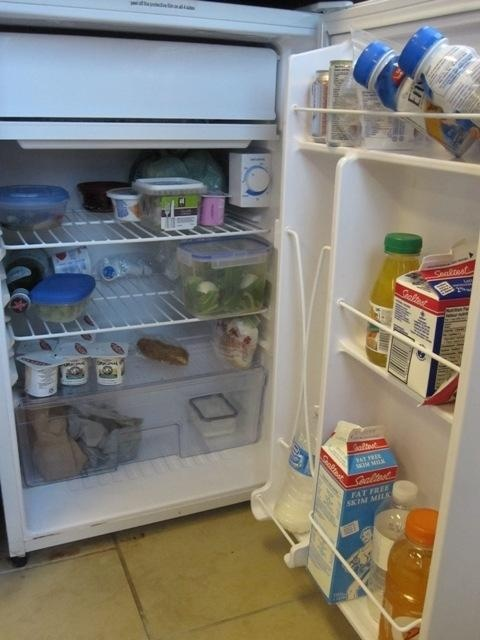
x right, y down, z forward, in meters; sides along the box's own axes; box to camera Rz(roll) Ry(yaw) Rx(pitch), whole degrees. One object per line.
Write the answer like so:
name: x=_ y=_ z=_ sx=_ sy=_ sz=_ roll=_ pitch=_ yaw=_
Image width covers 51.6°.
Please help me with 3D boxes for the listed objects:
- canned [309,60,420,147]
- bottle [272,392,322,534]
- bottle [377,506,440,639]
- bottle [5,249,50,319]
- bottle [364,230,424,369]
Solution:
canned: x=0.185 y=-0.334 z=0.812 sx=0.196 sy=0.135 sz=0.063 roll=5 pitch=6 yaw=8
bottle: x=0.123 y=0.339 z=1.101 sx=0.096 sy=0.273 sz=0.241 roll=0 pitch=18 yaw=9
bottle: x=0.243 y=0.360 z=0.716 sx=0.065 sy=0.169 sz=0.085 roll=5 pitch=20 yaw=23
bottle: x=-0.556 y=-0.097 z=1.279 sx=0.138 sy=0.183 sz=0.066 roll=2 pitch=-4 yaw=-18
bottle: x=0.244 y=-0.041 z=0.790 sx=0.079 sy=0.195 sz=0.176 roll=4 pitch=19 yaw=19
